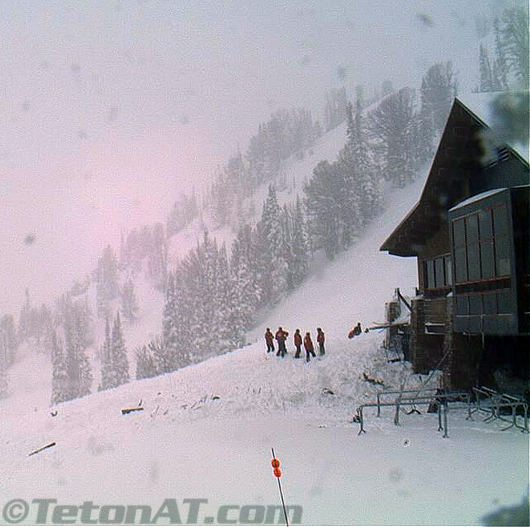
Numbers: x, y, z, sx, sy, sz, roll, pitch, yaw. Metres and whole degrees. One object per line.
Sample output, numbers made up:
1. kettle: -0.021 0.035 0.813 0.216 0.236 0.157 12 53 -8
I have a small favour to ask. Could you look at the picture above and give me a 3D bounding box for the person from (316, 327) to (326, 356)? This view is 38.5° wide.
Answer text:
1. person: 3.059 4.307 41.884 0.428 1.310 1.061 0 -27 3
